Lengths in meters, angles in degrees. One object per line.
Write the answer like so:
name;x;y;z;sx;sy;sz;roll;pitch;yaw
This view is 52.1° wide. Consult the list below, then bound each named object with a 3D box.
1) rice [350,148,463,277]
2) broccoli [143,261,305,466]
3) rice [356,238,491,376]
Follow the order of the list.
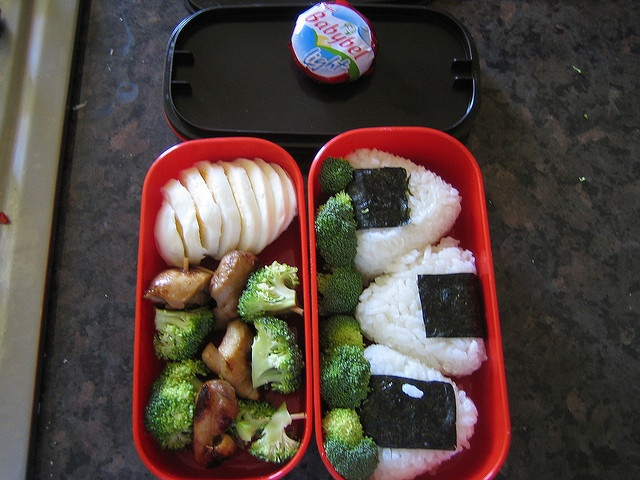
rice;0.323;-0.091;2.428;0.372;0.152;0.470;-13;80;-5
broccoli;-0.337;0.423;2.336;0.558;0.188;0.733;-2;80;-1
rice;0.363;0.272;2.390;0.442;0.443;0.517;5;39;6
